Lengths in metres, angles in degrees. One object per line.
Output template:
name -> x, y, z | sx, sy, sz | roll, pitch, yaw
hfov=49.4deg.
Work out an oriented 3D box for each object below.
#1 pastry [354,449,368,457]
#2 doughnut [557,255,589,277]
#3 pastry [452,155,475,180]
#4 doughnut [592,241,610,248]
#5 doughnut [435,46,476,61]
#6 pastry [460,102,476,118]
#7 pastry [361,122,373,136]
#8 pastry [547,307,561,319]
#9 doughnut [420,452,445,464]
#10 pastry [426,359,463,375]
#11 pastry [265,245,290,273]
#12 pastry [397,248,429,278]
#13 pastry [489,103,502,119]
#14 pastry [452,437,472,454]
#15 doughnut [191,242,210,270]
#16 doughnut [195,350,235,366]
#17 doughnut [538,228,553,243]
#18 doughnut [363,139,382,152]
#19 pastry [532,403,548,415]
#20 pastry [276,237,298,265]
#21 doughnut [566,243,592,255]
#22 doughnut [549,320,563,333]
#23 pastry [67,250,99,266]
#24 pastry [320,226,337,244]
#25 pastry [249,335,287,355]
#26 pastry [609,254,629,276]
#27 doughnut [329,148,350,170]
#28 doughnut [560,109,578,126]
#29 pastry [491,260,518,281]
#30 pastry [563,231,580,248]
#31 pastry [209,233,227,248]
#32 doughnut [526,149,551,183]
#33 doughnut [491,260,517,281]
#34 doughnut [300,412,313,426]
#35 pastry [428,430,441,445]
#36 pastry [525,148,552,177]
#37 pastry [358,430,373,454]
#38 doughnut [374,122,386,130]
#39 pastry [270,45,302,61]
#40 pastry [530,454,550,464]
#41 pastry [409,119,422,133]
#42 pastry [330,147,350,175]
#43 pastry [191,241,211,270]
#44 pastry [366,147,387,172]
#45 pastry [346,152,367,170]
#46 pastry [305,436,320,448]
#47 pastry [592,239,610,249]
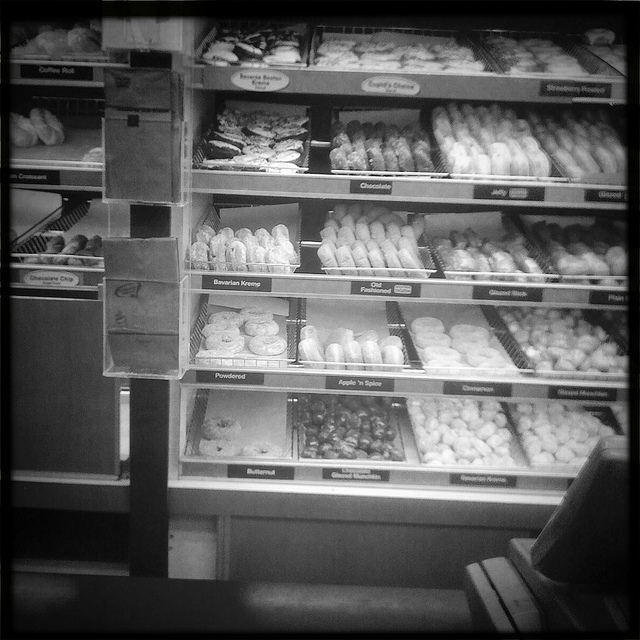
pastry -> 0.140, 0.448, 2.364 | 0.040, 0.020, 0.050 | -15, 6, 3
doughnut -> 0.843, -0.181, 2.301 | 0.076, 0.038, 0.094 | -3, 33, 0
pastry -> 0.440, -0.474, 2.137 | 0.058, 0.073, 0.071 | 6, 32, 5
doughnut -> 1.013, -0.279, 2.519 | 0.035, 0.014, 0.043 | -1, 11, -44
doughnut -> 0.425, -0.839, 2.199 | 0.095, 0.031, 0.082 | 12, 22, 37
pastry -> 0.531, -0.760, 2.509 | 0.058, 0.068, 0.069 | -5, 28, 1
pastry -> 0.177, -0.708, 2.565 | 0.013, 0.058, 0.058 | -11, 10, 30
pastry -> 0.886, -0.028, 2.630 | 0.048, 0.057, 0.053 | -3, 8, -7
doughnut -> 0.380, 0.464, 2.340 | 0.077, 0.028, 0.044 | -16, 6, -10
pastry -> 0.413, 0.157, 2.304 | 0.116, 0.038, 0.116 | -14, 6, 10
pastry -> -0.129, -0.181, 2.164 | 0.056, 0.090, 0.031 | -5, -21, -9
pastry -> 0.301, -0.182, 2.243 | 0.086, 0.074, 0.103 | -14, 6, -4
pastry -> 0.636, -0.752, 2.500 | 0.051, 0.017, 0.061 | -3, 63, 7
pastry -> 0.488, 0.424, 2.387 | 0.046, 0.024, 0.049 | -18, 34, -5
doughnut -> -0.364, -0.197, 2.127 | 0.053, 0.081, 0.039 | 4, -11, -38
doughnut -> -0.339, 0.122, 2.243 | 0.127, 0.046, 0.082 | -16, 6, -11
doughnut -> 0.835, -0.312, 2.585 | 0.048, 0.059, 0.052 | 0, 5, -5
doughnut -> 0.182, -0.604, 2.359 | 0.049, 0.039, 0.055 | -14, 32, 27
pastry -> 0.812, 0.325, 2.562 | 0.051, 0.024, 0.063 | -11, 7, 30
pastry -> -0.109, -0.223, 2.249 | 0.035, 0.077, 0.079 | -14, 50, -9
doughnut -> 0.905, -0.251, 2.422 | 0.044, 0.019, 0.053 | 1, 21, 0
doughnut -> 0.866, 0.022, 2.546 | 0.047, 0.025, 0.087 | -12, 7, 22
pastry -> -0.738, -0.193, 2.161 | 0.092, 0.052, 0.141 | -17, 6, -18
pastry -> 0.030, -0.298, 2.417 | 0.051, 0.059, 0.064 | -1, 45, -6
pastry -> -0.175, 0.083, 2.365 | 0.113, 0.057, 0.135 | -13, 6, 13
pastry -> 0.982, -0.177, 2.285 | 0.057, 0.056, 0.083 | -11, 7, 25
doughnut -> 0.062, -0.507, 2.205 | 0.040, 0.029, 0.085 | 5, 36, -7
doughnut -> 0.888, -0.735, 2.485 | 0.053, 0.021, 0.060 | -6, 40, 0
pastry -> 0.614, -0.165, 2.308 | 0.082, 0.045, 0.104 | -13, 6, 18
pastry -> 0.930, -0.303, 2.566 | 0.062, 0.018, 0.069 | -9, 45, 13
pastry -> -0.323, -0.259, 2.189 | 0.038, 0.031, 0.048 | -2, 25, -8
doughnut -> 0.693, -0.496, 2.201 | 0.064, 0.064, 0.086 | -11, 6, 22
doughnut -> 0.615, -0.177, 2.308 | 0.066, 0.040, 0.074 | -12, 37, -9
doughnut -> -0.051, 0.352, 2.540 | 0.027, 0.050, 0.047 | 18, 0, -31
pastry -> 0.411, 0.407, 2.451 | 0.043, 0.031, 0.063 | -15, 6, -8
pastry -> 0.693, -0.493, 2.185 | 0.070, 0.094, 0.024 | -11, -8, 10
pastry -> 0.160, 0.412, 2.425 | 0.038, 0.056, 0.083 | 5, 35, 4
doughnut -> 0.226, -0.721, 2.580 | 0.035, 0.028, 0.040 | 2, 23, 2
pastry -> -0.106, -0.803, 2.099 | 0.121, 0.038, 0.076 | -6, 18, -21
pastry -> 0.738, 0.465, 2.327 | 0.057, 0.018, 0.041 | -14, 6, 16
pastry -> 0.362, -0.728, 2.614 | 0.055, 0.016, 0.060 | -14, 53, 17
pastry -> 0.071, -0.512, 2.205 | 0.050, 0.034, 0.105 | -7, 46, 1
pastry -> -0.365, -0.197, 2.127 | 0.065, 0.075, 0.026 | -20, 5, -29
pastry -> 0.184, -0.522, 2.265 | 0.047, 0.031, 0.111 | -14, 61, 6
pastry -> 0.119, -0.503, 2.210 | 0.043, 0.065, 0.063 | -19, 48, -15
pastry -> -0.025, 0.420, 2.403 | 0.050, 0.030, 0.063 | -15, 6, -5
pastry -> 1.017, -0.279, 2.526 | 0.040, 0.016, 0.057 | 6, 18, -5
